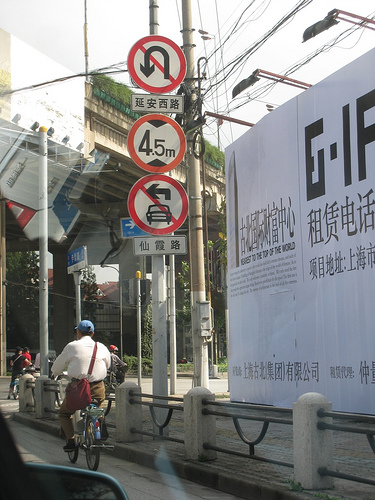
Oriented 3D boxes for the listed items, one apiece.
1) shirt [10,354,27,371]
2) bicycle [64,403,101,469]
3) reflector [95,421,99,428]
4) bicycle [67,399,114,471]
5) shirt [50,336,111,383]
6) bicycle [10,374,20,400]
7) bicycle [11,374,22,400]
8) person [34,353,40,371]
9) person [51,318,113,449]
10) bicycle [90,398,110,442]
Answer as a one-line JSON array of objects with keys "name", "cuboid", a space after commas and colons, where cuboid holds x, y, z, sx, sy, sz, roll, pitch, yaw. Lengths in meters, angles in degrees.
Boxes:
[{"name": "shirt", "cuboid": [-5.231, 3.487, 19.544, 0.359, 0.516, 0.734, 7, -13, -43]}, {"name": "bicycle", "cuboid": [-1.101, 2.001, 6.795, 0.318, 0.566, 0.814, 2, -13, -13]}, {"name": "reflector", "cuboid": [-0.936, 1.801, 6.527, 0.031, 0.061, 0.013, 5, -8, 0]}, {"name": "bicycle", "cuboid": [-1.020, 2.029, 6.714, 0.539, 0.917, 1.290, 2, -7, -9]}, {"name": "shirt", "cuboid": [-1.156, 1.260, 7.211, 0.650, 0.621, 0.429, 10, -4, -35]}, {"name": "bicycle", "cuboid": [-5.189, 4.137, 19.055, 0.253, 0.753, 1.444, 1, -11, -15]}, {"name": "bicycle", "cuboid": [-5.180, 4.145, 19.097, 0.260, 0.753, 1.811, 1, -11, -16]}, {"name": "person", "cuboid": [-4.922, 3.695, 20.687, 0.131, 0.513, 1.451, 1, -11, -15]}, {"name": "person", "cuboid": [-1.255, 1.548, 7.273, 0.584, 1.549, 0.792, 4, -11, -25]}, {"name": "bicycle", "cuboid": [-0.934, 1.877, 6.913, 0.203, 0.316, 0.414, 0, -10, -4]}]
